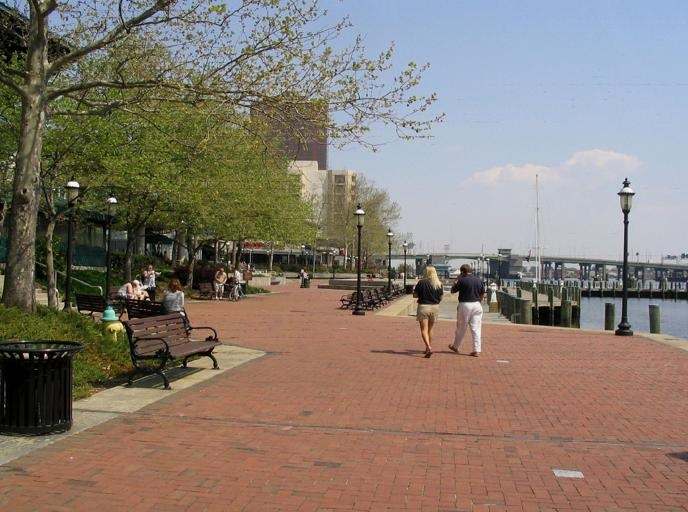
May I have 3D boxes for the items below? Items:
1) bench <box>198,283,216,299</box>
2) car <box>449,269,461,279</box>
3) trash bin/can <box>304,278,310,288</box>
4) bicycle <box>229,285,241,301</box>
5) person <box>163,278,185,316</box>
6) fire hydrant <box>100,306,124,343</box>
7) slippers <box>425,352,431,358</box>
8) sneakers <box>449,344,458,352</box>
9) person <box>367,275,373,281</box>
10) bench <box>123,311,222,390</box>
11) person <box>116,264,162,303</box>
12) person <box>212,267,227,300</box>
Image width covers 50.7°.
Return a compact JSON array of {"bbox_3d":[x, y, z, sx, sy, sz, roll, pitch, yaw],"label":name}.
[{"bbox_3d":[-7.188,1.879,38.327,0.325,0.567,0.835,2,1,22],"label":"bench"},{"bbox_3d":[17.500,3.039,117.252,1.793,0.842,3.051,2,6,20],"label":"car"},{"bbox_3d":[-3.046,2.276,59.685,0.553,0.614,0.556,0,2,2],"label":"trash bin/can"},{"bbox_3d":[-5.678,1.901,38.068,0.567,0.799,1.636,0,2,-9],"label":"bicycle"},{"bbox_3d":[-3.495,0.838,14.984,0.403,0.713,0.703,0,2,-16],"label":"person"},{"bbox_3d":[-5.194,1.551,16.295,0.536,0.899,0.538,-5,-5,-8],"label":"fire hydrant"},{"bbox_3d":[1.736,2.053,15.100,0.084,0.138,0.139,0,-9,2],"label":"slippers"},{"bbox_3d":[2.372,2.037,15.921,0.100,0.125,0.294,2,5,-12],"label":"sneakers"},{"bbox_3d":[2.865,2.289,77.082,0.554,0.558,1.033,-6,-9,8],"label":"person"},{"bbox_3d":[-2.960,1.583,12.519,1.028,1.072,2.039,1,2,6],"label":"bench"},{"bbox_3d":[-7.963,1.093,28.266,1.122,0.625,1.572,-7,-1,-31],"label":"person"},{"bbox_3d":[-6.553,1.479,38.380,0.538,1.577,2.731,0,2,-10],"label":"person"}]
